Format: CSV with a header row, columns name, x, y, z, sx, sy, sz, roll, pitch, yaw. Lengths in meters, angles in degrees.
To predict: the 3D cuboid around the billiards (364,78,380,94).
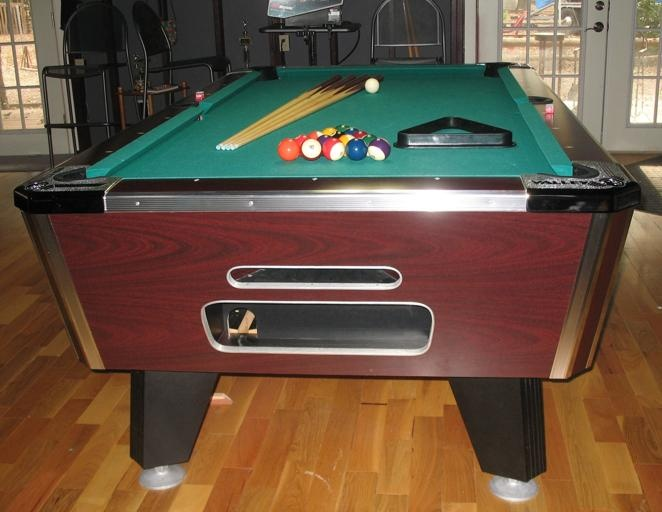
name,x,y,z,sx,sy,sz,roll,pitch,yaw
billiards,0.179,-0.698,2.295,0.089,0.062,0.072,-1,7,5
